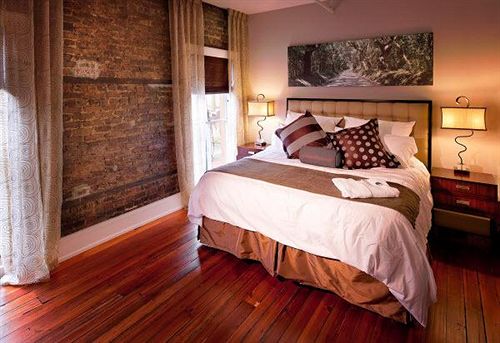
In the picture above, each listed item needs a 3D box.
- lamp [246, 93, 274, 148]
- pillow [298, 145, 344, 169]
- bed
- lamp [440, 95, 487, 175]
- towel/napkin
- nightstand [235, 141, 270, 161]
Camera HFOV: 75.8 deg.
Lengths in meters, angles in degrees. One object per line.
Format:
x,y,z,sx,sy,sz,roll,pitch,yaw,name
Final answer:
0.200,-0.978,6.037,0.464,0.938,0.375,9,15,33,lamp
0.914,-0.195,4.206,0.553,0.276,0.277,8,1,24,pillow
0.948,0.421,4.296,2.868,1.184,2.152,7,18,31,bed
2.893,-0.511,4.395,0.515,1.017,0.432,9,19,36,lamp
1.253,0.175,3.498,0.632,0.127,0.411,-3,15,-6,towel/napkin
0.035,-0.410,5.946,0.491,0.453,0.365,6,12,35,nightstand
